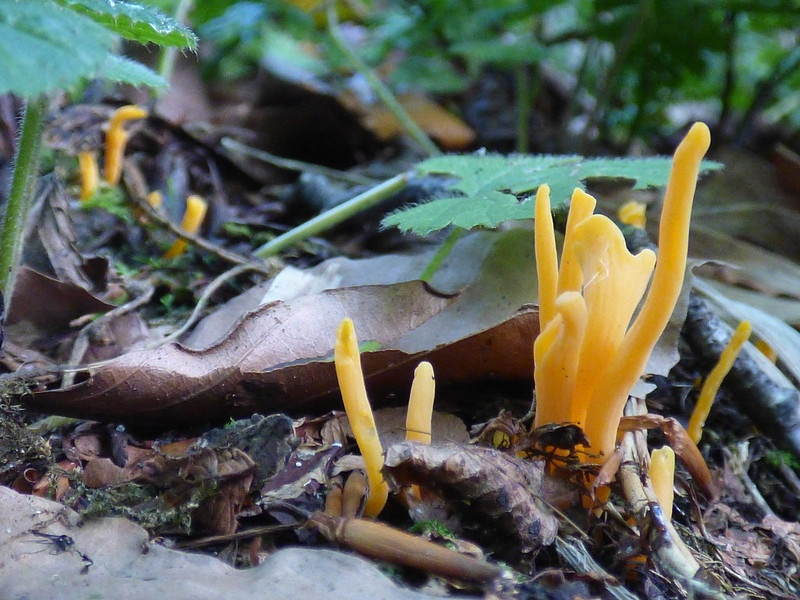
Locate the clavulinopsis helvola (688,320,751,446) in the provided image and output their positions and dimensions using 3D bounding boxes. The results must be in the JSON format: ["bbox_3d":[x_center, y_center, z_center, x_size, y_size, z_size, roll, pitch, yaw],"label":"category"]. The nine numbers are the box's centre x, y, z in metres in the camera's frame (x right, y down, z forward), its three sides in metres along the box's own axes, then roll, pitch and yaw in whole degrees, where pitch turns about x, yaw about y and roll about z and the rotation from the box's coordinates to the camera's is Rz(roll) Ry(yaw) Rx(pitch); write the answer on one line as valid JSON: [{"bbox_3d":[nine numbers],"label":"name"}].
[{"bbox_3d":[0.730,0.193,1.972,0.052,0.339,0.056,6,36,-28],"label":"clavulinopsis helvola"}]
